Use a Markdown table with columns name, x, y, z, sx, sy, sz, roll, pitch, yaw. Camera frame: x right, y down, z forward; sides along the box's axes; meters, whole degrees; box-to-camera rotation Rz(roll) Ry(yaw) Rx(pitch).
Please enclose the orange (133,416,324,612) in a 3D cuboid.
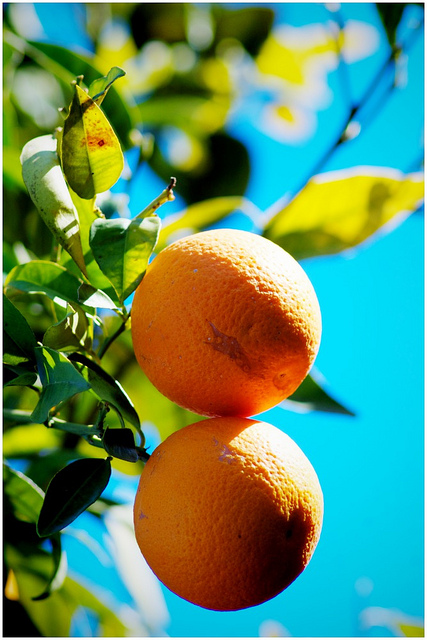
| name | x | y | z | sx | sy | sz | roll | pitch | yaw |
| --- | --- | --- | --- | --- | --- | --- | --- | --- | --- |
| orange | 0.013 | 0.196 | 0.749 | 0.178 | 0.184 | 0.207 | -14 | 64 | -3 |
